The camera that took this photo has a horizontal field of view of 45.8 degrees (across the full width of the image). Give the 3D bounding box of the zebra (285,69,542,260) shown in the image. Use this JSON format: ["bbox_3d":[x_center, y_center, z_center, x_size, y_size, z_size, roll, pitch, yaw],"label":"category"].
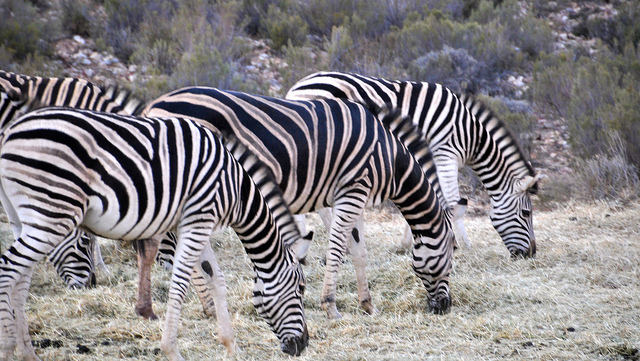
[{"bbox_3d":[1.008,-0.011,12.421,5.606,3.169,1.535,-1,24,-6],"label":"zebra"}]
